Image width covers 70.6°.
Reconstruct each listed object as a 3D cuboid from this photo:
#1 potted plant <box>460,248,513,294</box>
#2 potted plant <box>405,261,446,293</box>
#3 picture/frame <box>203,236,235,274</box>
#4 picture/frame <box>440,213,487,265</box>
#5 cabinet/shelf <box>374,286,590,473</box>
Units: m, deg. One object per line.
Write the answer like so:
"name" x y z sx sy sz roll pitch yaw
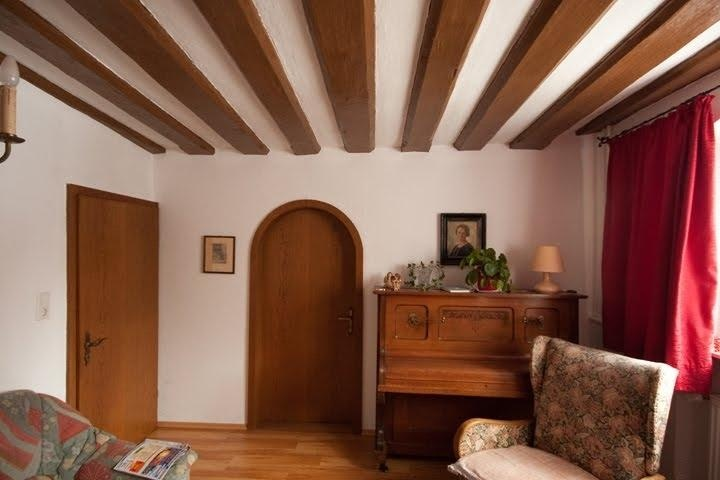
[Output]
"potted plant" 1.196 0.303 4.817 0.400 0.318 0.421 2 -3 -1
"potted plant" 0.648 0.352 5.037 0.404 0.328 0.236 2 -3 3
"picture/frame" -1.436 0.159 5.236 0.345 0.463 0.029 0 -5 -3
"picture/frame" 1.042 0.001 5.053 0.463 0.564 0.058 1 -4 2
"cabinet/shelf" 1.053 1.261 4.722 1.689 1.725 0.719 2 1 4
